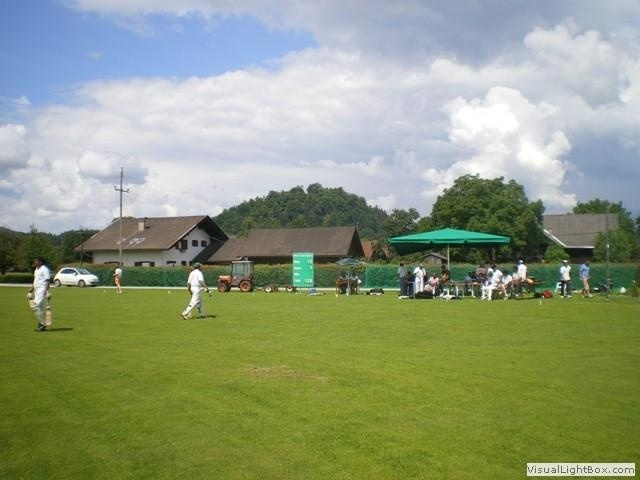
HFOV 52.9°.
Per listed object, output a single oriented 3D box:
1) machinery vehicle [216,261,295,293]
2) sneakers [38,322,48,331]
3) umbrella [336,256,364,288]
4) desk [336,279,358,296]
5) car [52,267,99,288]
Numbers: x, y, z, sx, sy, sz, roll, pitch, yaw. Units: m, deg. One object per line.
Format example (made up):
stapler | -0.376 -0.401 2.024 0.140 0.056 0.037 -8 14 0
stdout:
machinery vehicle | -3.811 2.267 39.662 6.073 2.407 1.859 0 -3 9
sneakers | -7.564 2.380 17.522 0.159 0.199 0.452 2 -10 -5
umbrella | 1.618 1.752 35.376 1.489 1.405 1.591 -2 0 -14
desk | 1.420 2.533 35.438 0.781 0.937 1.333 3 -4 -35
car | -18.822 2.871 49.736 2.935 1.278 1.606 -1 -3 15
